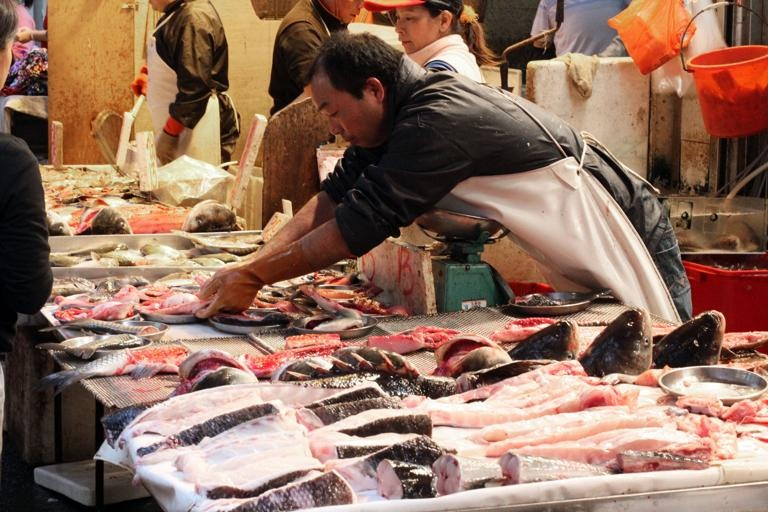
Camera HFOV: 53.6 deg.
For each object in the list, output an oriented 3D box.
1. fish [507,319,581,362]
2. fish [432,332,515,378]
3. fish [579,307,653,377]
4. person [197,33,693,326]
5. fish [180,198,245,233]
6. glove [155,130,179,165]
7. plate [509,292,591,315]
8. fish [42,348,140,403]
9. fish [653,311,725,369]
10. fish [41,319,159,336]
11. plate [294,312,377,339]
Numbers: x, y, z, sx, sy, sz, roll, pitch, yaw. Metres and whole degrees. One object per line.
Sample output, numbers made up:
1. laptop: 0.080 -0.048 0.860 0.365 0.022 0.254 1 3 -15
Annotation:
1. fish: 0.651 0.352 3.134 0.272 0.096 0.144 -18 16 16
2. fish: 0.351 0.402 3.057 0.308 0.123 0.251 -2 2 6
3. fish: 0.943 0.353 3.017 0.316 0.220 0.105 -23 -47 4
4. person: 0.434 -0.284 4.231 2.827 1.393 0.951 7 11 -8
5. fish: -1.233 -0.291 5.557 0.356 0.171 0.226 0 5 16
6. glove: -2.234 -1.111 7.815 0.288 0.324 0.104 9 12 -9
7. plate: 0.834 0.239 3.845 0.294 0.035 0.165 -3 4 -19
8. fish: -1.114 0.455 3.067 0.441 0.128 0.169 -17 11 -19
9. fish: 1.230 0.337 3.082 0.276 0.216 0.240 -2 2 18
10. fish: -1.302 0.332 3.532 0.533 0.077 0.059 0 -36 -2
11. plate: -0.238 0.337 3.614 0.419 0.088 0.275 -2 2 -6
